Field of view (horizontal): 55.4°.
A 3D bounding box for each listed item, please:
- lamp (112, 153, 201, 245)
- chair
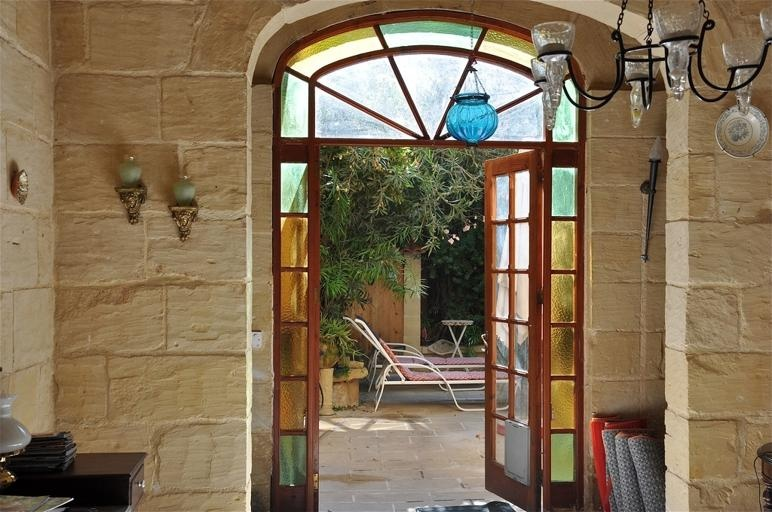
[{"bbox_3d":[-1.367,-0.333,4.300,0.509,0.366,0.190,6,10,1],"label":"lamp"},{"bbox_3d":[0.444,1.174,8.062,1.497,0.571,0.920,0,1,-8],"label":"chair"}]
